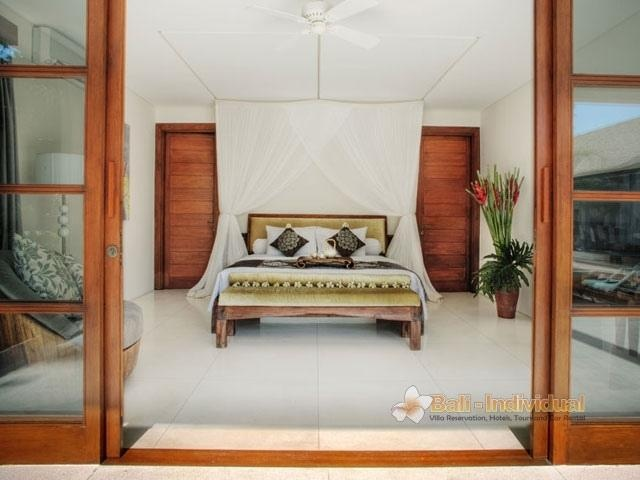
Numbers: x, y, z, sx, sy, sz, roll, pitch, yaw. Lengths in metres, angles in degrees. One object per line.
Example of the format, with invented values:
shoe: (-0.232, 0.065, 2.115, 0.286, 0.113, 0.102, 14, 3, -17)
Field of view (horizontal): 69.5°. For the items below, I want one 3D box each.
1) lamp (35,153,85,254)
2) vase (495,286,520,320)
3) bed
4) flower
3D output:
lamp: (-1.359, -0.191, 2.408, 0.230, 0.523, 0.100, 1, 9, 5)
vase: (2.064, 0.702, 5.074, 0.331, 0.326, 0.316, 2, -5, 3)
bed: (-0.006, 0.598, 4.410, 1.956, 0.711, 0.976, 1, 8, 2)
flower: (2.164, -0.019, 5.566, 0.677, 1.740, 1.430, 3, 9, 15)
